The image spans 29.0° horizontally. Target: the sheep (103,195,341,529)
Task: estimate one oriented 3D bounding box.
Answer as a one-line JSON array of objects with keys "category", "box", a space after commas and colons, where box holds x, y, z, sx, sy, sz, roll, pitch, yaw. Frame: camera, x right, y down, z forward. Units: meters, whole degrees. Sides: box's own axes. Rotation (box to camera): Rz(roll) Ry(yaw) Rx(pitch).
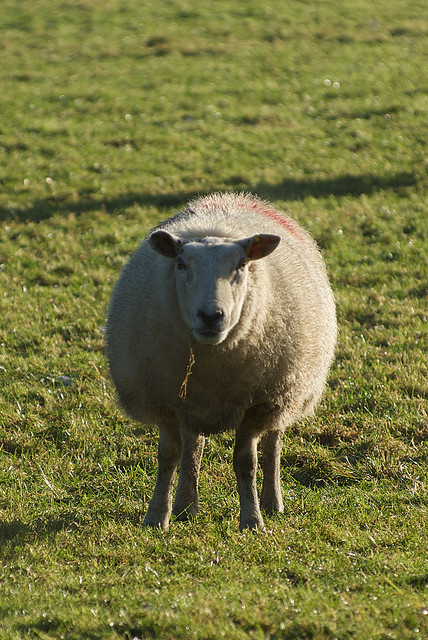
[{"category": "sheep", "box": [-0.009, 0.262, 5.885, 1.545, 2.107, 1.719, 14, 31, 8]}]
